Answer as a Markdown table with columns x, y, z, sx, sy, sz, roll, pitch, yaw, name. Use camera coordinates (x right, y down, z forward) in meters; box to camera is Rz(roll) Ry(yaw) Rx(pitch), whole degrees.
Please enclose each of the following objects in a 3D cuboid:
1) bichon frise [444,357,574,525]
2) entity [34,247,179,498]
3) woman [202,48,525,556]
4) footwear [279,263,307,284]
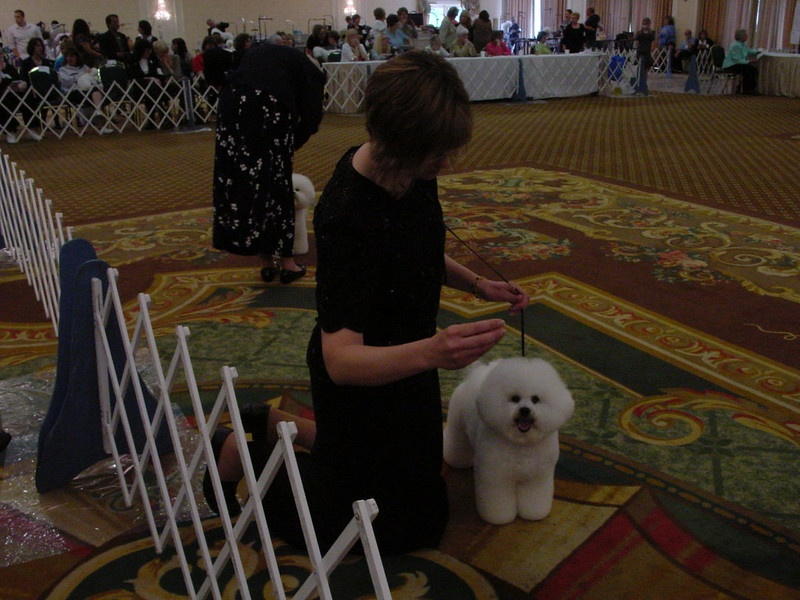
| x | y | z | sx | sy | sz | roll | pitch | yaw | name |
| --- | --- | --- | --- | --- | --- | --- | --- | --- | --- |
| 0.349 | 0.420 | 2.027 | 0.384 | 0.488 | 0.537 | 3 | 13 | 4 | bichon frise |
| -1.079 | 0.220 | 2.088 | 0.451 | 0.836 | 0.219 | -11 | 24 | -19 | entity |
| -0.107 | 0.090 | 1.655 | 0.874 | 1.387 | 0.678 | 0 | 23 | 8 | woman |
| -0.649 | -0.150 | 3.800 | 0.072 | 0.063 | 0.180 | 7 | 20 | 20 | footwear |
